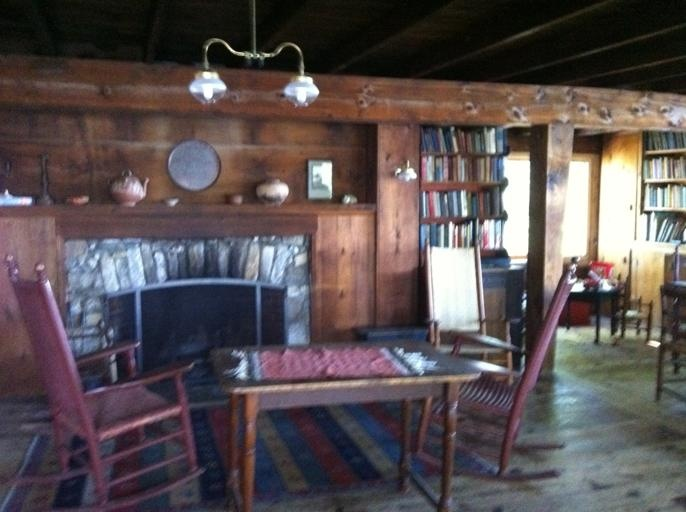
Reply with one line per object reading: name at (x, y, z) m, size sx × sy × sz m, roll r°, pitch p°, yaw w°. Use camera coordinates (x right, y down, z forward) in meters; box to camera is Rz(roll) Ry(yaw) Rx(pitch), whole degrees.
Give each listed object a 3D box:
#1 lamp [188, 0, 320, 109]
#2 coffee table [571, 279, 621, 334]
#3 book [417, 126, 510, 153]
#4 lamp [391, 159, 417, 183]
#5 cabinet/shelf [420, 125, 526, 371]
lamp at (-0.656, -1.481, 3.941) m, size 0.849 × 0.826 × 0.200 m, roll -1°, pitch 5°, yaw -9°
coffee table at (3.178, 0.568, 6.660) m, size 0.638 × 0.647 × 0.725 m, roll 3°, pitch 6°, yaw 35°
book at (1.164, -1.128, 5.231) m, size 0.862 × 0.266 × 0.109 m, roll -2°, pitch 6°, yaw -10°
lamp at (0.590, -0.792, 4.984) m, size 0.242 × 0.198 × 0.133 m, roll -2°, pitch 6°, yaw -8°
cabinet/shelf at (1.186, -0.092, 5.315) m, size 0.940 × 2.277 × 0.846 m, roll -6°, pitch 11°, yaw -5°
